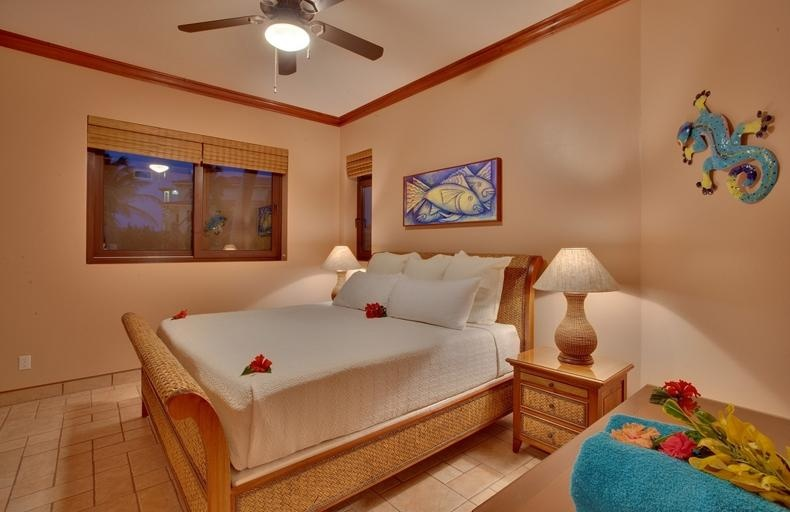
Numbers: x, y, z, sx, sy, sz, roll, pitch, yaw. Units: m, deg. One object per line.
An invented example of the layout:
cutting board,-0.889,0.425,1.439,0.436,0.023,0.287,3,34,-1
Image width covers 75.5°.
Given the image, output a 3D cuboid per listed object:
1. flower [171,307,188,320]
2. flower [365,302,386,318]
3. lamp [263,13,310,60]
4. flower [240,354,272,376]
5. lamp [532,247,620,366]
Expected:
flower,-2.178,0.569,5.098,0.125,0.072,0.163,-2,5,9
flower,-0.199,0.504,4.776,0.144,0.053,0.145,1,14,16
lamp,-0.878,-1.777,4.110,0.318,0.151,0.211,-1,5,-21
flower,-0.968,0.752,3.573,0.204,0.109,0.173,0,5,-9
lamp,1.553,0.384,4.610,0.834,1.204,0.908,1,1,21
